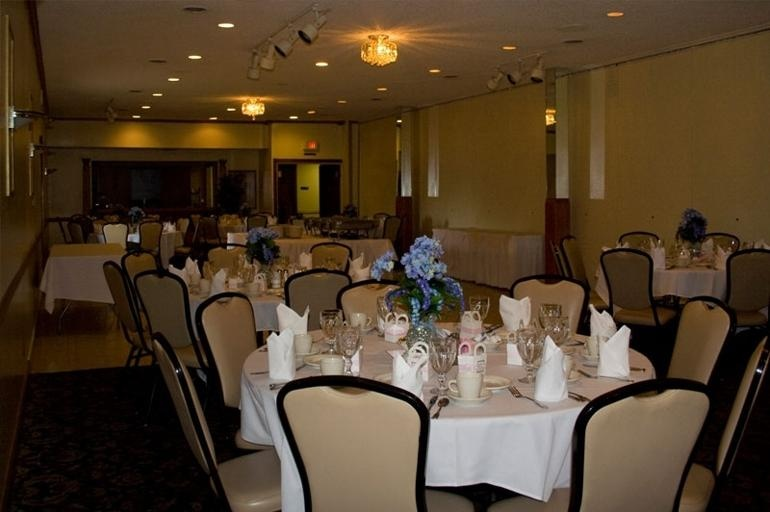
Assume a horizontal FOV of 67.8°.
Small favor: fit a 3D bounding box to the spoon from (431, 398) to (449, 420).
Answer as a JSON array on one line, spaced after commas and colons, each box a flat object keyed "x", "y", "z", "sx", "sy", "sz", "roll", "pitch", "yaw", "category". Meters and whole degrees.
[{"x": 0.275, "y": 0.756, "z": 2.875, "sx": 0.035, "sy": 0.027, "sz": 0.170, "roll": 18, "pitch": 21, "yaw": 9, "category": "spoon"}]

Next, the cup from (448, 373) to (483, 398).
[{"x": 0.424, "y": 0.663, "z": 2.966, "sx": 0.136, "sy": 0.111, "sz": 0.118, "roll": -3, "pitch": 2, "yaw": -2, "category": "cup"}]

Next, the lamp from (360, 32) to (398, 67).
[{"x": -0.115, "y": -2.696, "z": 7.635, "sx": 0.403, "sy": 0.329, "sz": 0.417, "roll": -2, "pitch": 3, "yaw": -26, "category": "lamp"}]

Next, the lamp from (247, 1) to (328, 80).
[{"x": -1.295, "y": -2.723, "z": 7.482, "sx": 0.892, "sy": 0.607, "sz": 2.367, "roll": -4, "pitch": 11, "yaw": -17, "category": "lamp"}]

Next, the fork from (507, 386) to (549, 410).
[{"x": 0.734, "y": 0.737, "z": 2.991, "sx": 0.052, "sy": 0.054, "sz": 0.328, "roll": -22, "pitch": 14, "yaw": -14, "category": "fork"}]

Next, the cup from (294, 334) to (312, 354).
[{"x": -0.508, "y": 0.545, "z": 3.564, "sx": 0.097, "sy": 0.115, "sz": 0.109, "roll": -2, "pitch": 10, "yaw": -8, "category": "cup"}]

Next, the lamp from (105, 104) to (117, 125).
[{"x": -6.726, "y": -3.509, "z": 14.083, "sx": 0.259, "sy": 0.355, "sz": 3.308, "roll": -5, "pitch": 11, "yaw": -25, "category": "lamp"}]
